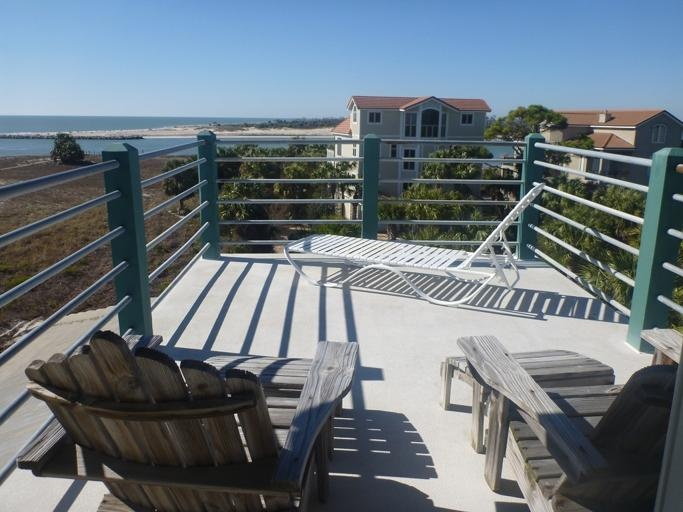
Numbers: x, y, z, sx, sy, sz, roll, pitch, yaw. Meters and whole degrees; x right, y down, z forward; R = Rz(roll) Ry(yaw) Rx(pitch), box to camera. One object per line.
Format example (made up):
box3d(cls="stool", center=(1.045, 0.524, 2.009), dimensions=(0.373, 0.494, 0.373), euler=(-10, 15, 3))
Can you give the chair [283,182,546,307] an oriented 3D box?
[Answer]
box3d(cls="chair", center=(0.685, -0.252, 4.953), dimensions=(2.530, 1.104, 1.513), euler=(7, 18, 22))
